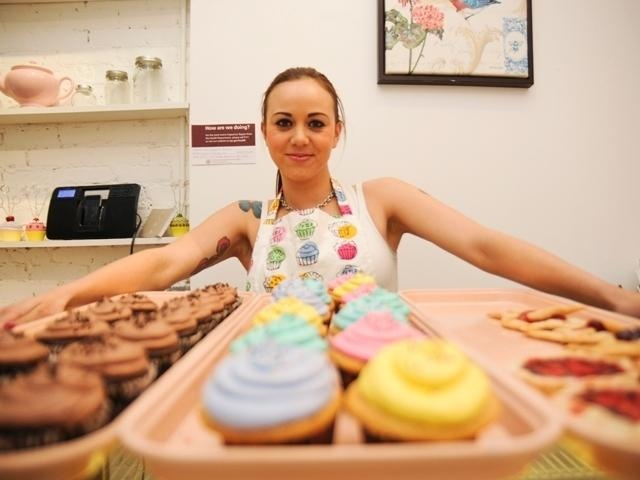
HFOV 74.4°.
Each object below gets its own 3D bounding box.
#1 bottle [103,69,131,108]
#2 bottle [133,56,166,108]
[{"bbox_3d":[-0.843,-0.625,1.760,0.102,0.149,0.101,6,25,-3],"label":"bottle"},{"bbox_3d":[-0.714,-0.652,1.761,0.170,0.194,0.168,-3,11,-26],"label":"bottle"}]
